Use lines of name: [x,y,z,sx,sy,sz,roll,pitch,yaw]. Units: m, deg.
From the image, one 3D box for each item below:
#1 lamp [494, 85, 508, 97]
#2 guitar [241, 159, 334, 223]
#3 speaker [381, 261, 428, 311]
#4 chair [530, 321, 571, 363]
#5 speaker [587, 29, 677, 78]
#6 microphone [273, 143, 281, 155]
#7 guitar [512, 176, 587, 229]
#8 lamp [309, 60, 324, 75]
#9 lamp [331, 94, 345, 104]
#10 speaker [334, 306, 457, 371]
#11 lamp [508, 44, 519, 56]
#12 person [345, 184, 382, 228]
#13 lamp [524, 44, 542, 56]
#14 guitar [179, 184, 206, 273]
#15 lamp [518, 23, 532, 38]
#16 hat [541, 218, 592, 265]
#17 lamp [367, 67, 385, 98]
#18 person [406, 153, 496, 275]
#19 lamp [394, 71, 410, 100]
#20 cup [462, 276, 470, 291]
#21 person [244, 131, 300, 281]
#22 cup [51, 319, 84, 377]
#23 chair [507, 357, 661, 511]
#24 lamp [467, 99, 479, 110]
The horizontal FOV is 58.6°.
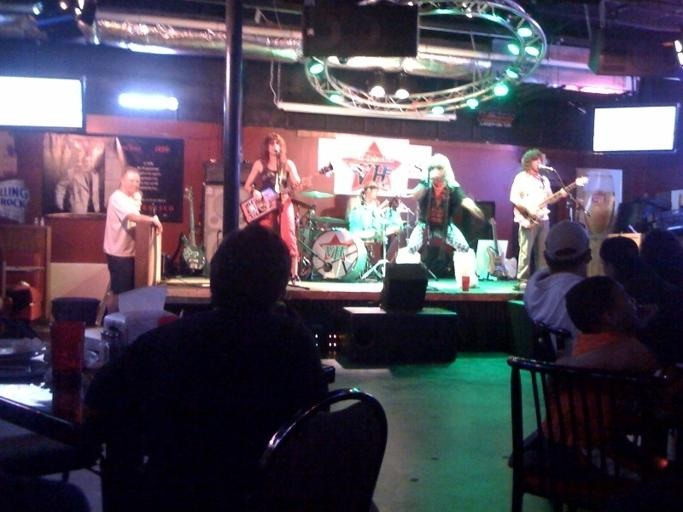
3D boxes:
lamp: [2.197,-2.312,8.428,0.195,0.133,0.238,2,8,4]
guitar: [-0.729,-0.872,7.926,0.162,0.429,1.169,-5,31,46]
speaker: [0.614,0.311,5.953,0.365,0.464,0.239,1,17,-7]
chair: [1.321,0.540,3.857,0.229,0.240,0.206,0,2,-2]
speaker: [3.416,-2.344,7.052,1.056,0.511,0.327,0,8,-11]
microphone: [-0.750,-1.252,7.123,0.069,0.110,0.024,-11,1,-39]
guitar: [2.762,-0.726,8.106,0.987,0.415,0.120,-36,14,15]
lamp: [-0.318,-2.361,7.621,0.189,0.123,0.283,-3,10,-29]
lamp: [-0.069,-2.278,8.843,0.190,0.111,0.440,2,9,6]
speaker: [0.591,0.809,6.037,0.977,0.551,0.567,2,-4,-12]
lamp: [2.084,-2.515,7.371,0.137,0.140,0.270,3,8,15]
person: [0.312,-0.686,8.533,0.453,0.634,0.773,1,8,1]
lamp: [2.252,-2.467,7.191,0.158,0.091,0.169,10,11,-17]
guitar: [-2.106,-0.407,8.470,0.092,1.132,0.309,4,9,35]
lamp: [2.067,-2.521,6.844,0.137,0.101,0.250,6,9,27]
hat: [1.457,-0.120,4.108,0.323,0.272,0.564,3,9,12]
lamp: [0.504,-2.422,8.616,0.206,0.394,0.380,1,3,1]
person: [1.317,-0.515,8.104,0.894,1.645,0.567,3,7,11]
lamp: [0.853,-2.421,8.712,0.264,0.452,0.287,0,-2,1]
cup: [1.355,0.298,6.693,0.072,0.170,0.115,2,7,6]
person: [-0.749,-0.510,7.185,0.601,1.768,0.553,1,19,8]
cup: [-1.250,0.407,2.774,0.155,0.241,0.153,1,7,0]
chair: [1.141,0.885,2.903,0.670,0.818,0.418,5,8,28]
lamp: [1.950,-2.267,9.099,0.121,0.141,0.047,10,10,3]
